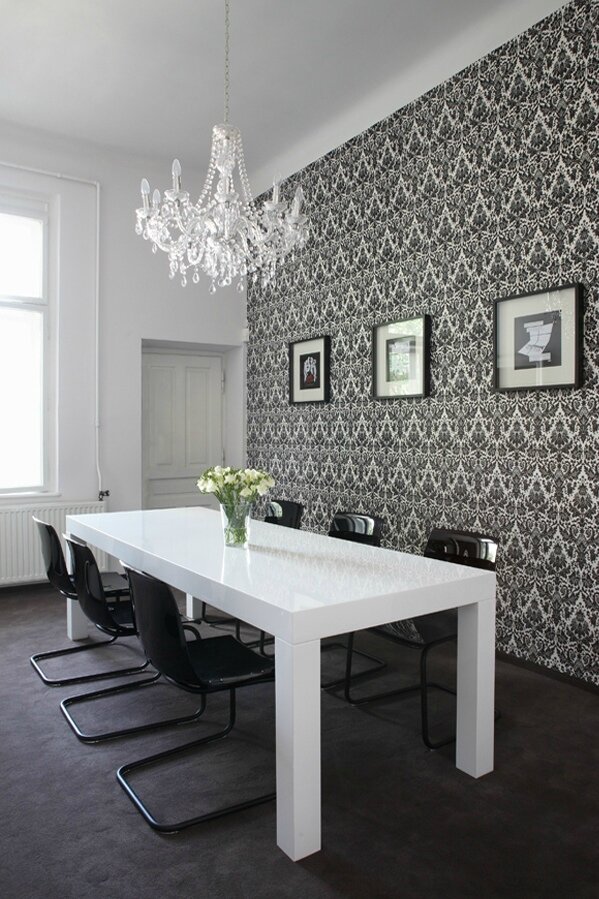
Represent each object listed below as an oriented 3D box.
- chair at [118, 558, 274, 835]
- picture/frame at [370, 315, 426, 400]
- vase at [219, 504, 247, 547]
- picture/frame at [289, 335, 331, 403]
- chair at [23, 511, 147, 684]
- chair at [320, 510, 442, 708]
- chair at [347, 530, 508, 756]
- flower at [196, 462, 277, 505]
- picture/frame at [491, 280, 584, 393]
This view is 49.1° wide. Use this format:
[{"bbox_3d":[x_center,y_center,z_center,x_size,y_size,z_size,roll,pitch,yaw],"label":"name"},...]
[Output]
[{"bbox_3d":[-0.367,0.761,2.429,0.600,1.066,0.579,-2,2,-26],"label":"chair"},{"bbox_3d":[0.645,-0.587,4.221,0.041,0.493,0.453,-1,1,-38],"label":"picture/frame"},{"bbox_3d":[-0.277,0.327,2.834,0.148,0.238,0.148,0,-5,-14],"label":"vase"},{"bbox_3d":[0.098,-0.621,5.293,0.118,0.511,0.455,0,1,-38],"label":"picture/frame"},{"bbox_3d":[-0.930,0.716,3.046,0.334,0.502,0.672,18,-3,-31],"label":"chair"},{"bbox_3d":[0.458,0.888,3.081,0.443,0.790,0.428,9,2,20],"label":"chair"},{"bbox_3d":[0.534,0.782,2.802,0.450,0.760,0.421,0,5,-39],"label":"chair"},{"bbox_3d":[-0.266,0.146,2.804,0.233,0.173,0.246,2,-1,-11],"label":"flower"},{"bbox_3d":[1.186,-0.553,3.202,0.051,0.589,0.566,0,-1,-26],"label":"picture/frame"}]
